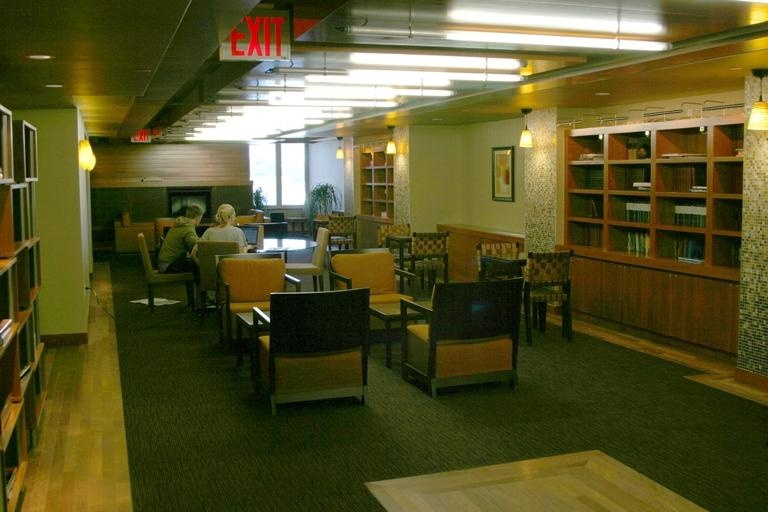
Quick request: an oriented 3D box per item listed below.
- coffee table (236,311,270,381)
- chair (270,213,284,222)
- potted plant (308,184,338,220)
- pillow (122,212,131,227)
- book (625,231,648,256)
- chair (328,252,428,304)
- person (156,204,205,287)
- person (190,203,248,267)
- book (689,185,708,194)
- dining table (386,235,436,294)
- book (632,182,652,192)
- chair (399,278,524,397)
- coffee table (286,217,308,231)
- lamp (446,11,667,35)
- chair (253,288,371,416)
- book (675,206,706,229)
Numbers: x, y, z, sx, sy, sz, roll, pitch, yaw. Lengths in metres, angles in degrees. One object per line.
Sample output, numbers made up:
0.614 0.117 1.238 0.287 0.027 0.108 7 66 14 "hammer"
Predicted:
-1.349 0.934 6.491 0.447 0.484 0.793 0 3 -18 "coffee table"
-3.103 -1.168 18.265 0.395 0.205 1.121 -3 11 -12 "chair"
-1.908 -1.727 19.511 0.586 1.104 1.393 -5 12 -22 "potted plant"
-6.739 -0.952 16.458 0.134 0.337 0.393 -3 6 -7 "pillow"
3.365 -0.168 8.339 0.120 0.290 0.343 1 -1 -13 "book"
-0.136 0.245 8.083 0.984 0.851 0.688 -1 3 -24 "chair"
-3.124 -0.088 9.927 0.923 1.401 0.662 -5 17 -42 "person"
-2.328 -0.333 9.108 0.850 0.769 0.446 3 10 3 "person"
3.685 -0.795 7.389 0.166 0.079 0.508 4 12 22 "book"
0.625 0.100 11.216 1.032 1.294 1.006 -1 6 -15 "dining table"
3.328 -0.873 8.094 0.138 0.082 0.181 -3 5 -33 "book"
0.921 0.775 6.750 1.239 1.269 1.225 -1 1 -17 "chair"
-2.753 -1.008 20.249 0.515 0.322 0.695 -2 8 -17 "coffee table"
1.450 -1.929 5.178 1.964 0.104 0.350 -4 12 -16 "lamp"
-0.626 0.843 6.247 1.143 1.362 1.141 -1 5 -16 "chair"
3.679 -0.481 7.516 0.431 0.220 0.404 3 5 35 "book"
